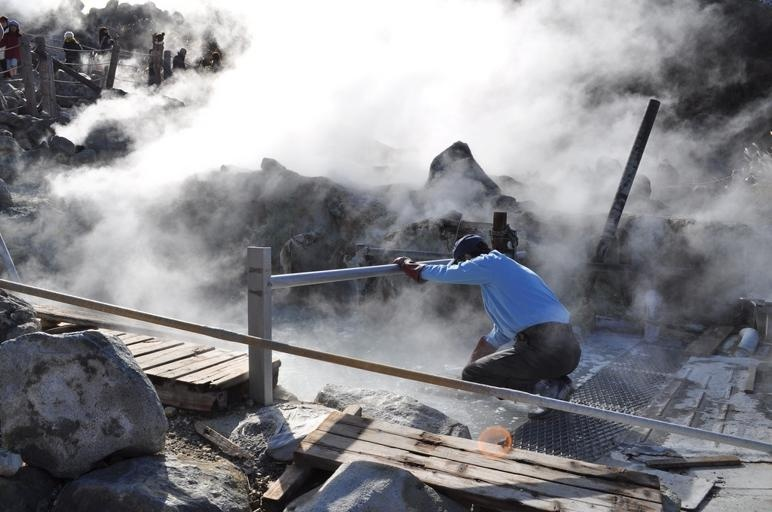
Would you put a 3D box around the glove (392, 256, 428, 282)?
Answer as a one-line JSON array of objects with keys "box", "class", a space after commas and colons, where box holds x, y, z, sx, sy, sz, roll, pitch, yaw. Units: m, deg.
[{"box": [0.267, 0.131, 7.194, 0.347, 0.128, 0.220, 32, -26, 35], "class": "glove"}]

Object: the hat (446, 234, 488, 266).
[{"box": [0.980, -0.034, 7.491, 0.369, 0.396, 0.296, 7, -11, 12], "class": "hat"}]
